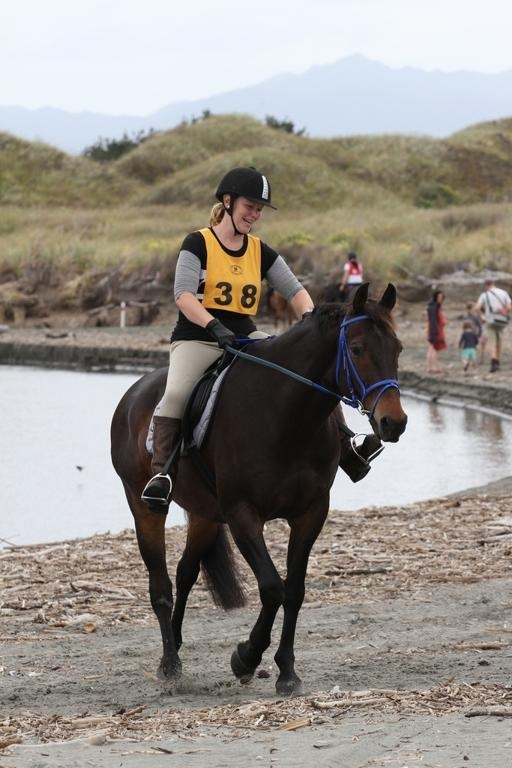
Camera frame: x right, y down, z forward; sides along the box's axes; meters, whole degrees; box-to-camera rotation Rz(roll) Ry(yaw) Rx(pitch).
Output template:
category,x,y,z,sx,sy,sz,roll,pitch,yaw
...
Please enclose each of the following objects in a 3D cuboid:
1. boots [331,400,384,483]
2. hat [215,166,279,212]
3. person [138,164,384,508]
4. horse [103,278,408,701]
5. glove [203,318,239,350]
category,x,y,z,sx,sy,sz,roll,pitch,yaw
boots,0.589,0.355,5.617,0.250,0.215,0.161,-10,31,-38
hat,-0.065,-0.983,5.264,0.333,0.170,0.238,6,3,39
person,0.031,-0.262,5.429,1.400,1.651,0.987,-1,9,5
horse,-0.020,0.548,5.168,0.923,1.986,2.168,-4,3,-25
glove,-0.175,-0.250,5.135,0.164,0.069,0.125,36,7,8
